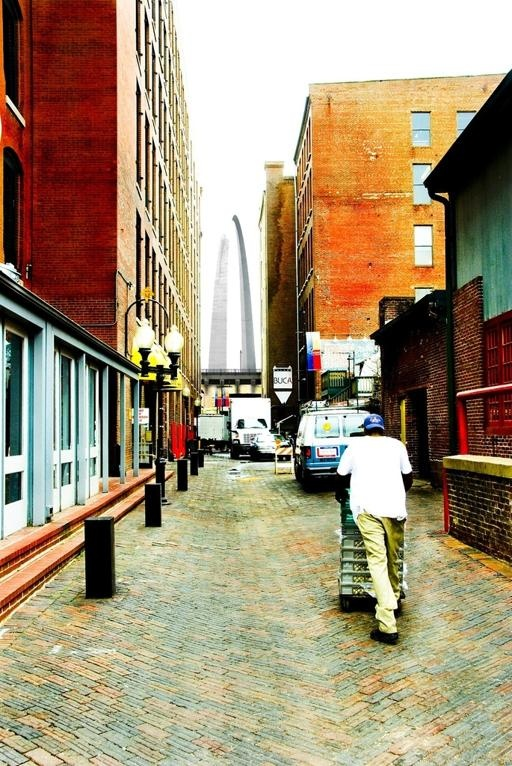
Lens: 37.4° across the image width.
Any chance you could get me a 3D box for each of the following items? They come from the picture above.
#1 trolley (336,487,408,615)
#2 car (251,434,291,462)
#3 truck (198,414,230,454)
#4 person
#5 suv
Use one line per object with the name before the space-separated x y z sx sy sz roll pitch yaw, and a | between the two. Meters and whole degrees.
trolley | 1.145 1.561 6.586 0.537 0.950 0.894 -14 -22 35
car | 0.583 2.818 32.526 1.076 0.976 2.639 -1 -8 -1
truck | -2.746 3.179 50.077 1.794 2.638 3.187 0 -2 1
person | 0.876 1.047 5.667 0.572 1.600 0.712 -2 -2 11
suv | 1.712 1.442 18.588 1.204 1.488 2.714 -1 1 -1
